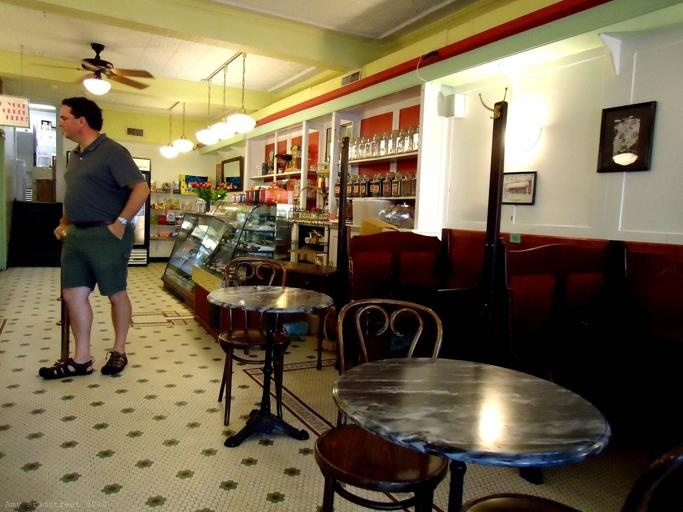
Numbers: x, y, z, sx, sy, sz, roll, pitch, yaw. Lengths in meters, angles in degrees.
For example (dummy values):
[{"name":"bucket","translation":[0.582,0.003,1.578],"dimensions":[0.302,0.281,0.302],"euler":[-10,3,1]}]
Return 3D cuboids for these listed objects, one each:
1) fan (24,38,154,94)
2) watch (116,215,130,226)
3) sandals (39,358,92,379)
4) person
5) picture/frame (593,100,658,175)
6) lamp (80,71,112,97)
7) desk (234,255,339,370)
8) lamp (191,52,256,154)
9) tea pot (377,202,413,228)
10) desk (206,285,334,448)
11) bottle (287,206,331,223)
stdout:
[{"name":"fan","translation":[-3.438,-2.662,7.458],"dimensions":[1.306,0.466,1.331],"euler":[0,3,21]},{"name":"watch","translation":[-1.798,-0.289,4.215],"dimensions":[0.095,0.057,0.099],"euler":[8,-14,42]},{"name":"sandals","translation":[-2.318,0.962,4.305],"dimensions":[0.424,0.136,0.151],"euler":[3,-3,-26]},{"name":"person","translation":[-2.079,-0.148,4.292],"dimensions":[0.845,2.338,0.676],"euler":[2,13,-10]},{"name":"picture/frame","translation":[2.380,-0.979,4.223],"dimensions":[0.111,0.573,0.464],"euler":[-2,13,-25]},{"name":"lamp","translation":[-3.557,-2.523,7.391],"dimensions":[0.323,0.295,0.470],"euler":[-1,12,-20]},{"name":"desk","translation":[-0.487,0.519,4.465],"dimensions":[0.482,0.649,1.223],"euler":[0,3,-27]},{"name":"lamp","translation":[-2.121,-2.833,9.275],"dimensions":[1.732,1.293,0.594],"euler":[2,5,44]},{"name":"tea pot","translation":[0.717,-0.488,6.228],"dimensions":[0.304,0.242,0.524],"euler":[-4,13,-32]},{"name":"desk","translation":[-0.474,0.699,3.810],"dimensions":[1.259,0.951,1.059],"euler":[2,15,-13]},{"name":"bottle","translation":[-0.381,-0.514,6.599],"dimensions":[0.734,0.163,0.369],"euler":[11,13,36]}]
